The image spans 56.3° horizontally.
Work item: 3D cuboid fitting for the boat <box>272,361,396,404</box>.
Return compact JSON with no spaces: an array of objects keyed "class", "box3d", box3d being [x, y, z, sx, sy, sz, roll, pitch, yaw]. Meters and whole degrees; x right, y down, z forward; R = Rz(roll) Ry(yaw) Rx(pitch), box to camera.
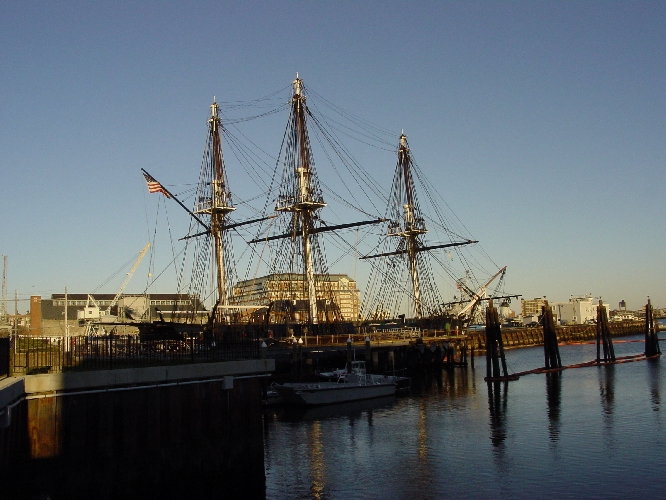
[{"class":"boat","box3d":[0.377,11.547,53.247,6.410,2.500,10.781,3,-2,39]}]
